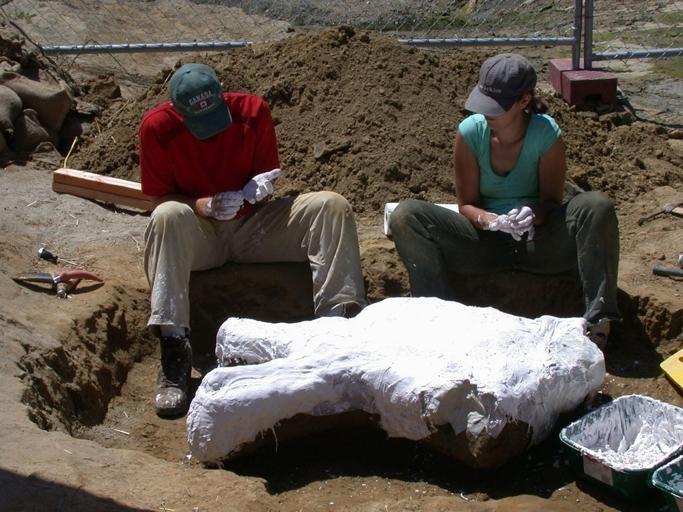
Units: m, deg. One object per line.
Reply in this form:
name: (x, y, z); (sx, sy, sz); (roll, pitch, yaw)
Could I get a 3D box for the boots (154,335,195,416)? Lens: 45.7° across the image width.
boots: (-0.960, 0.684, 4.602); (0.182, 0.401, 0.285); (-6, 24, 5)

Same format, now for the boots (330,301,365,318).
boots: (0.030, 0.329, 4.882); (0.158, 0.058, 0.102); (1, -7, -22)

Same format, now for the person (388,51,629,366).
person: (1.059, -0.331, 4.882); (1.233, 1.640, 1.044); (0, 8, 30)

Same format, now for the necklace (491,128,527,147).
necklace: (0.980, -0.695, 4.755); (0.149, 0.090, 0.118); (8, 15, 8)

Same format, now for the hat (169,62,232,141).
hat: (-0.833, -0.950, 4.756); (0.310, 0.250, 0.471); (-26, 62, -13)
